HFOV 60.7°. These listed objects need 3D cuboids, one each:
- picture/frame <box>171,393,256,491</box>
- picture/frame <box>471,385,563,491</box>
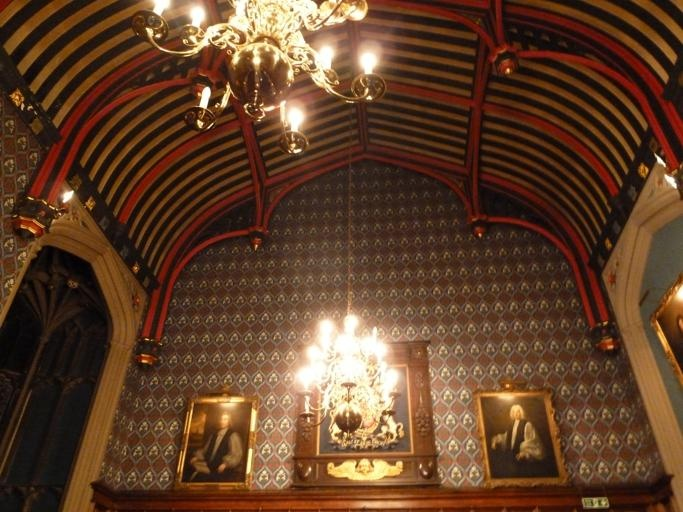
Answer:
[{"bbox_3d":[-2.262,3.412,10.468,1.311,1.671,0.180,-2,-37,4],"label":"picture/frame"},{"bbox_3d":[3.042,3.235,10.120,1.297,1.681,0.170,-3,-32,5],"label":"picture/frame"}]
